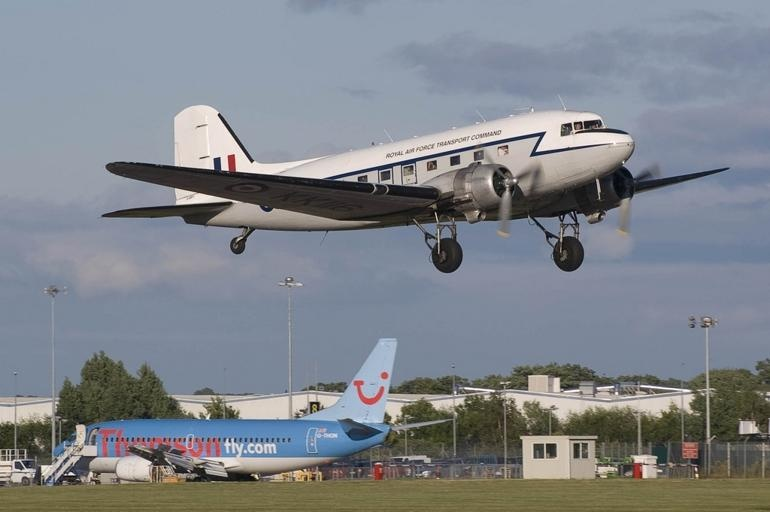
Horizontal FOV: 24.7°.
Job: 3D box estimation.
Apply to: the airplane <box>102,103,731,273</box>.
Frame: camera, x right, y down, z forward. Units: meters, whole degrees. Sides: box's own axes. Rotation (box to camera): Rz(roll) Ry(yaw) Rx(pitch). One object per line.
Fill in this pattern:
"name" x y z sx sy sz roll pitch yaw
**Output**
"airplane" 2.942 -4.926 121.868 56.106 11.451 15.930 -2 -1 10
